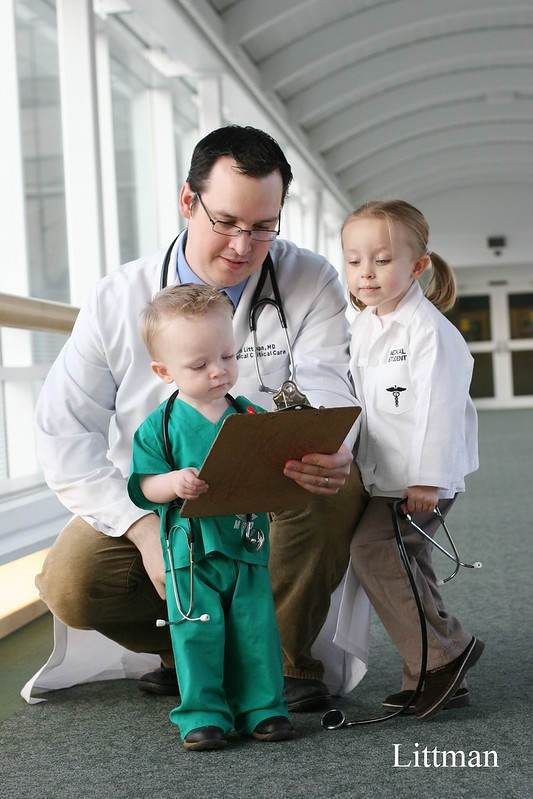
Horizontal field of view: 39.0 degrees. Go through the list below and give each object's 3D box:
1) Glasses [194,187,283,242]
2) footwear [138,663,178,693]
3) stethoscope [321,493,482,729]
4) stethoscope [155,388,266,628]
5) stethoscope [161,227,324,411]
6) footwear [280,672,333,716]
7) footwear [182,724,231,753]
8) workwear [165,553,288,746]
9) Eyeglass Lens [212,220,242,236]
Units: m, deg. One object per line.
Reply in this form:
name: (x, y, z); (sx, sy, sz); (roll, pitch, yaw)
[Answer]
Glasses: (-0.085, -0.425, 1.755); (0.190, 0.124, 0.101); (0, 6, 8)
footwear: (-0.261, 0.691, 1.854); (0.116, 0.044, 0.047); (3, -20, 20)
stethoscope: (0.302, 0.416, 1.691); (0.385, 0.540, 0.289); (-3, -18, 6)
stethoscope: (-0.110, 0.212, 1.501); (0.220, 0.503, 0.052); (0, 1, 12)
stethoscope: (-0.038, -0.185, 1.806); (0.214, 0.602, 0.148); (-13, -7, -2)
footwear: (0.088, 0.672, 1.709); (0.058, 0.062, 0.146); (8, -22, -16)
footwear: (-0.115, 0.639, 1.415); (0.080, 0.029, 0.044); (-18, -41, 30)
workwear: (-0.087, 0.469, 1.506); (0.249, 0.412, 0.151); (4, -24, -26)
Eyeglass Lens: (-0.093, -0.390, 1.725); (0.077, 0.035, 0.008); (2, 7, 28)
